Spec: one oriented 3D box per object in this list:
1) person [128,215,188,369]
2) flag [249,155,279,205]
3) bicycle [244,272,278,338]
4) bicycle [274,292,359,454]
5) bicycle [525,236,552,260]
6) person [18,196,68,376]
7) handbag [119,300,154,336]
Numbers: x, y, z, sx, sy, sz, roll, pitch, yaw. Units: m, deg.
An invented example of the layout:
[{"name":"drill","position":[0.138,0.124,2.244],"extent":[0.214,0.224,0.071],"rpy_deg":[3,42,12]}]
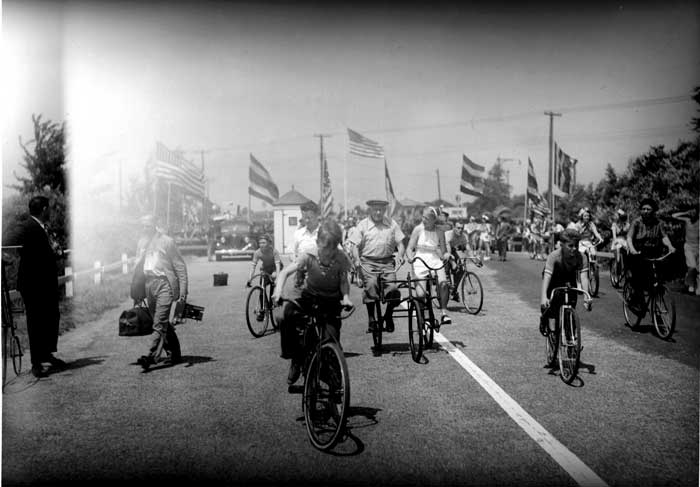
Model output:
[{"name":"person","position":[-3.100,0.819,9.417],"extent":[0.834,2.523,0.854],"rpy_deg":[-4,7,-23]},{"name":"flag","position":[-4.320,-3.098,28.825],"extent":[1.270,2.456,2.406],"rpy_deg":[-2,7,-7]},{"name":"bicycle","position":[-2.013,1.320,12.078],"extent":[0.748,0.999,1.614],"rpy_deg":[-2,-6,6]},{"name":"bicycle","position":[-0.312,1.583,6.778],"extent":[0.575,1.539,1.353],"rpy_deg":[-2,7,-6]},{"name":"bicycle","position":[9.115,0.214,28.013],"extent":[0.969,1.406,2.131],"rpy_deg":[-1,-4,0]},{"name":"person","position":[-4.865,0.695,9.083],"extent":[0.556,2.855,0.399],"rpy_deg":[-5,7,-33]},{"name":"handbag","position":[-3.588,1.301,9.613],"extent":[0.603,0.678,0.442],"rpy_deg":[3,-7,-25]}]
